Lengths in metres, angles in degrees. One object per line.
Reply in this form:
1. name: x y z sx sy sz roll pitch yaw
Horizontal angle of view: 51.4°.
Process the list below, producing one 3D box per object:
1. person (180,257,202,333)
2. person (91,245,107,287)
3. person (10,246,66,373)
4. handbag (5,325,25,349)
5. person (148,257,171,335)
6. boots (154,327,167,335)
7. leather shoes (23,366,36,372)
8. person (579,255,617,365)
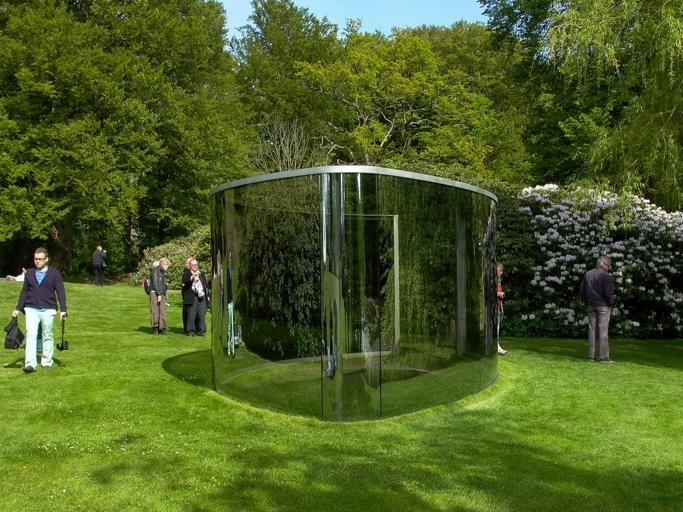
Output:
1. person: -3.915 1.080 18.330 0.402 1.998 0.567 -1 8 -13
2. person: -10.743 0.427 31.483 0.478 1.726 2.035 -2 9 -20
3. person: -5.796 1.034 13.694 0.903 2.368 0.888 -1 8 -15
4. handbag: -6.428 1.617 13.913 0.265 0.580 0.512 -5 -7 6
5. person: -4.788 1.065 18.635 0.452 2.058 1.302 -1 8 -14
6. boots: -4.696 1.954 18.295 0.231 0.250 0.185 1 0 11
7. leather shoes: -5.891 2.166 13.386 0.206 0.102 0.095 -7 -32 18
8. person: 5.850 1.218 16.099 0.443 2.375 0.766 -4 9 -31
